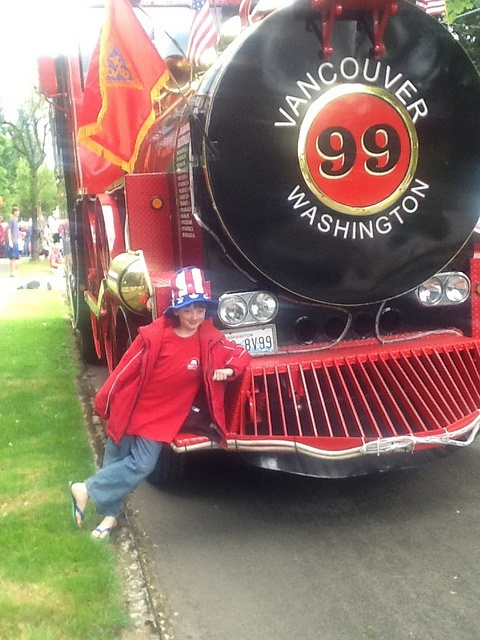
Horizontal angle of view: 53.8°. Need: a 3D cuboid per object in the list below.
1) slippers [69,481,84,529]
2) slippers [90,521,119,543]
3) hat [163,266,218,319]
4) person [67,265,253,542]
[{"bbox_3d":[-0.792,0.896,2.289,0.047,0.214,0.079,-1,7,14],"label":"slippers"},{"bbox_3d":[-0.653,0.990,2.213,0.061,0.035,0.121,0,5,8],"label":"slippers"},{"bbox_3d":[-0.234,-0.119,2.210,0.211,0.217,0.239,-4,0,-25],"label":"hat"},{"bbox_3d":[-0.395,0.417,2.309,0.727,1.324,0.398,10,7,3],"label":"person"}]
